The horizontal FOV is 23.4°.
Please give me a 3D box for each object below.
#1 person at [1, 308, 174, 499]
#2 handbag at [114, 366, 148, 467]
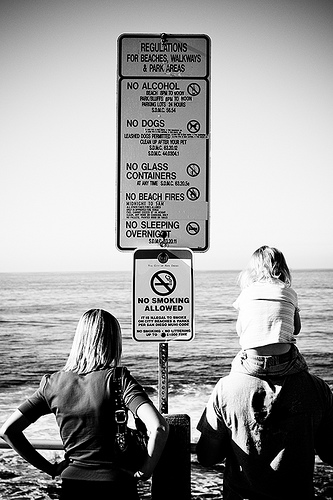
[{"bbox_3d":[-0.404,0.810,4.274,0.805,0.962,0.346,3,3,25],"label":"person"},{"bbox_3d":[-0.198,0.932,4.343,0.275,0.401,0.414,0,-7,-2],"label":"handbag"}]
